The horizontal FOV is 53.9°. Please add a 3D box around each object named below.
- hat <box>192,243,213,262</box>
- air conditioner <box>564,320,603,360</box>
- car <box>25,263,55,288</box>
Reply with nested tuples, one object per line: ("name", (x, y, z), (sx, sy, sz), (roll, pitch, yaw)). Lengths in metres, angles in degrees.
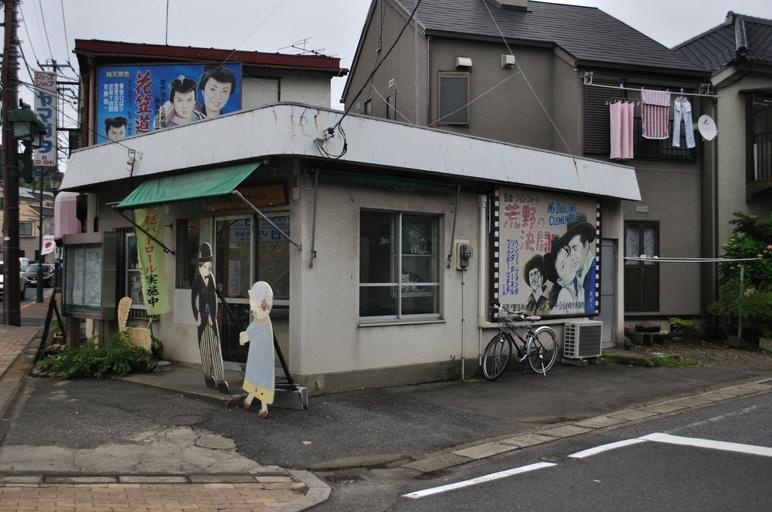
("hat", (-3.866, -0.075, 15.995), (0.228, 0.436, 0.127), (4, 1, 17))
("air conditioner", (5.182, 2.178, 19.687), (1.050, 0.989, 0.391), (-1, 5, -33))
("car", (-21.257, 1.210, 46.359), (1.588, 1.372, 2.741), (0, 2, -19))
